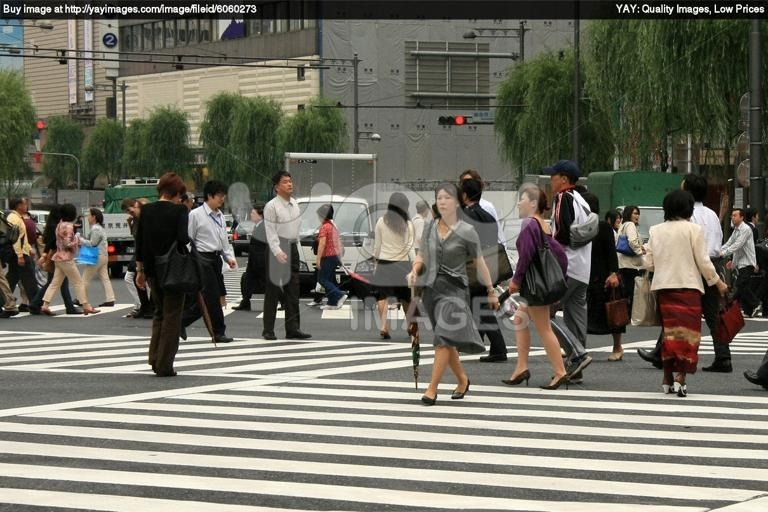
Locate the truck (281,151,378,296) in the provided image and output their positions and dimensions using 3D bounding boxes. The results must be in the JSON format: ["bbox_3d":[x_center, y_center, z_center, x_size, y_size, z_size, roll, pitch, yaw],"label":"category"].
[{"bbox_3d":[-1.193,-1.354,34.899,2.162,2.831,4.050,0,5,-2],"label":"truck"}]

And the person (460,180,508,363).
[{"bbox_3d":[1.813,0.332,23.848,1.082,3.252,0.868,-3,4,-16],"label":"person"}]

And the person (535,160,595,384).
[{"bbox_3d":[3.141,0.205,23.048,1.018,3.411,1.297,0,0,2],"label":"person"}]

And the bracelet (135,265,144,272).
[{"bbox_3d":[-4.136,0.235,23.391,0.122,0.091,0.134,5,-3,19],"label":"bracelet"}]

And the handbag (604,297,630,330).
[{"bbox_3d":[4.062,1.028,24.158,0.500,0.724,0.231,-2,7,0],"label":"handbag"}]

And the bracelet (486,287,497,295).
[{"bbox_3d":[1.758,0.587,22.634,0.155,0.101,0.161,-12,-18,39],"label":"bracelet"}]

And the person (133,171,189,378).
[{"bbox_3d":[-3.820,0.373,23.436,1.030,3.279,1.251,0,-2,-20],"label":"person"}]

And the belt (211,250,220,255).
[{"bbox_3d":[-3.144,-0.045,25.946,0.042,0.090,0.200,7,16,28],"label":"belt"}]

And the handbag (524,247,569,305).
[{"bbox_3d":[2.561,0.333,22.063,0.589,0.833,0.317,-1,14,-3],"label":"handbag"}]

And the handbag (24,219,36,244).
[{"bbox_3d":[-7.684,-0.518,29.950,0.198,0.508,0.454,-4,15,-15],"label":"handbag"}]

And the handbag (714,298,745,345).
[{"bbox_3d":[5.695,0.953,22.823,0.546,0.753,0.237,-33,23,-35],"label":"handbag"}]

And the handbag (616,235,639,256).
[{"bbox_3d":[4.670,-0.189,26.322,0.147,0.331,0.338,-17,-4,24],"label":"handbag"}]

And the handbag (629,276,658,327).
[{"bbox_3d":[4.359,0.784,23.041,0.275,1.011,0.916,-1,-5,22],"label":"handbag"}]

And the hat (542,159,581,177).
[{"bbox_3d":[2.962,-1.436,22.884,0.503,0.249,0.331,4,1,18],"label":"hat"}]

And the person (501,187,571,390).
[{"bbox_3d":[2.478,0.537,22.480,1.062,3.300,1.077,0,-4,-5],"label":"person"}]
